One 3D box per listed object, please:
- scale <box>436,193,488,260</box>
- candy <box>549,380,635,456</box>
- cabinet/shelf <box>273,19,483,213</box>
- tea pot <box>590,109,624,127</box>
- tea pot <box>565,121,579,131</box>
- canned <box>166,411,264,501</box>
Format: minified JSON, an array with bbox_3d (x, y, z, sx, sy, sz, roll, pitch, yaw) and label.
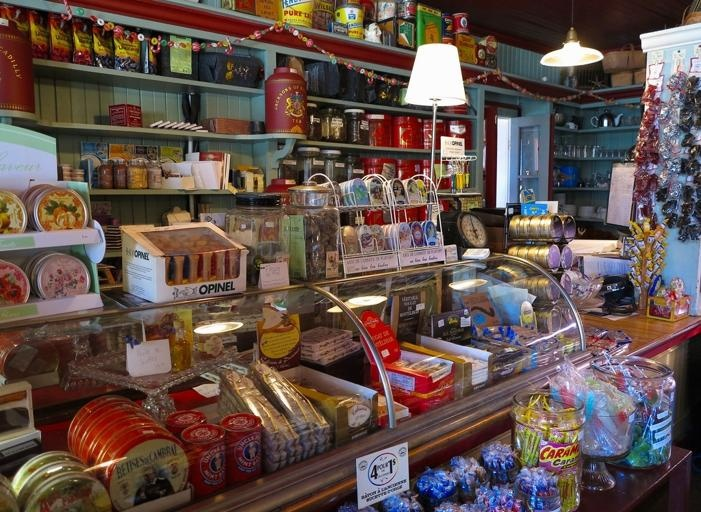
[{"bbox_3d":[0.585,-0.136,2.472,0.176,0.230,0.134,-21,19,-22],"label":"scale"},{"bbox_3d":[0.797,0.494,1.624,0.250,0.175,0.242,-4,5,-25],"label":"candy"},{"bbox_3d":[0.256,-0.905,3.070,1.536,0.658,1.493,2,6,1],"label":"cabinet/shelf"},{"bbox_3d":[3.701,-1.981,6.997,0.401,0.268,0.326,2,11,28],"label":"tea pot"},{"bbox_3d":[3.129,-1.854,6.883,0.175,0.111,0.091,2,-9,-19],"label":"tea pot"},{"bbox_3d":[-0.318,0.491,1.246,0.130,0.146,0.237,5,4,34],"label":"canned"}]
